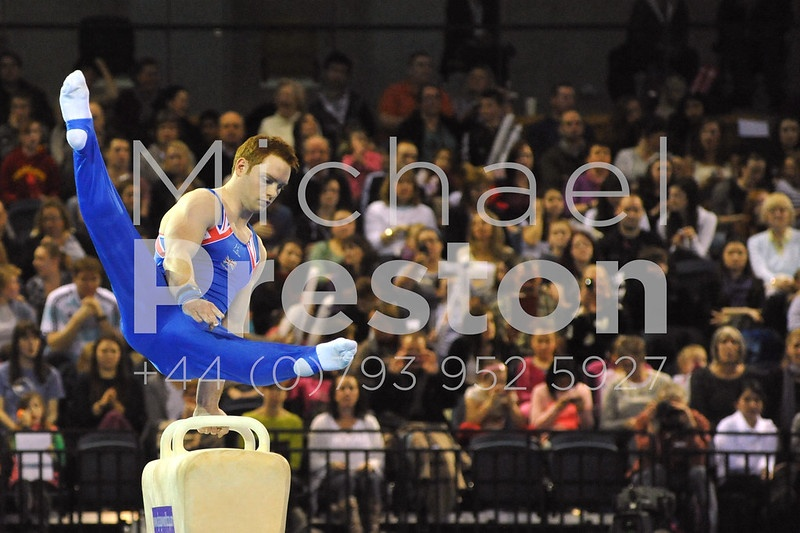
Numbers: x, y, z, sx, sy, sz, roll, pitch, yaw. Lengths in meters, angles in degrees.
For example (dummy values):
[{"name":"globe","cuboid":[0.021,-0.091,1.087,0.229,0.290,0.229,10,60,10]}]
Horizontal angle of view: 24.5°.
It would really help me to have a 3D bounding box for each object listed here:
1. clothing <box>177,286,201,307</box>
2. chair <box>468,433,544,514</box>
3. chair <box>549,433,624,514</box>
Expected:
[{"name":"clothing","cuboid":[-1.883,0.258,16.451,0.198,0.125,0.184,-7,-5,5]},{"name":"chair","cuboid":[1.115,2.130,19.305,0.768,0.825,0.793,-1,-9,2]},{"name":"chair","cuboid":[1.955,2.140,19.336,0.781,0.828,0.603,-1,-9,4]}]
